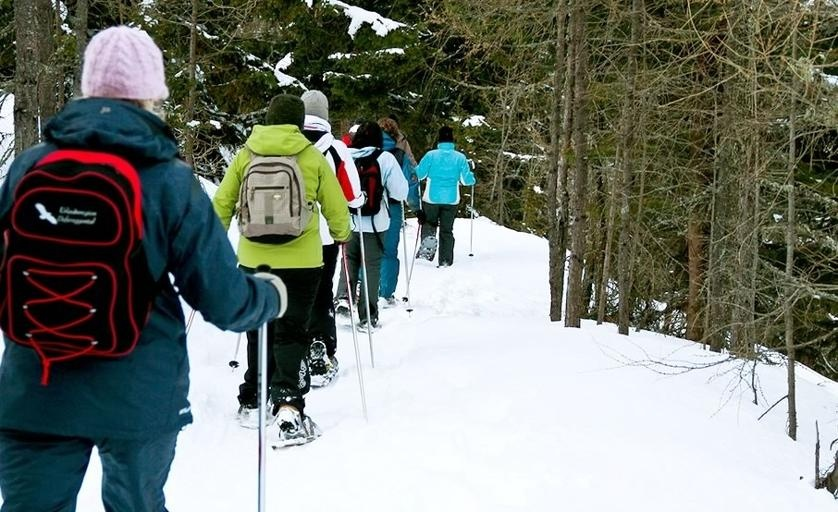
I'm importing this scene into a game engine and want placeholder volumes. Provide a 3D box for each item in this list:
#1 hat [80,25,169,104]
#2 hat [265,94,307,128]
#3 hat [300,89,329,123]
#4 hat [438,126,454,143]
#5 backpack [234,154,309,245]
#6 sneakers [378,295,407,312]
[{"bbox_3d":[-2.067,-1.324,6.594,0.544,0.453,0.524,-3,11,-22],"label":"hat"},{"bbox_3d":[-1.243,-1.381,8.979,0.317,0.312,0.250,-9,-14,4],"label":"hat"},{"bbox_3d":[-1.098,-1.590,9.962,0.231,0.205,0.345,10,7,-14],"label":"hat"},{"bbox_3d":[0.491,-2.208,17.080,0.322,0.416,0.426,2,10,3],"label":"hat"},{"bbox_3d":[-1.401,-0.595,8.933,0.685,0.863,0.485,-3,17,-13],"label":"backpack"},{"bbox_3d":[-0.397,0.687,13.963,0.480,0.211,0.165,-1,-5,-23],"label":"sneakers"}]
